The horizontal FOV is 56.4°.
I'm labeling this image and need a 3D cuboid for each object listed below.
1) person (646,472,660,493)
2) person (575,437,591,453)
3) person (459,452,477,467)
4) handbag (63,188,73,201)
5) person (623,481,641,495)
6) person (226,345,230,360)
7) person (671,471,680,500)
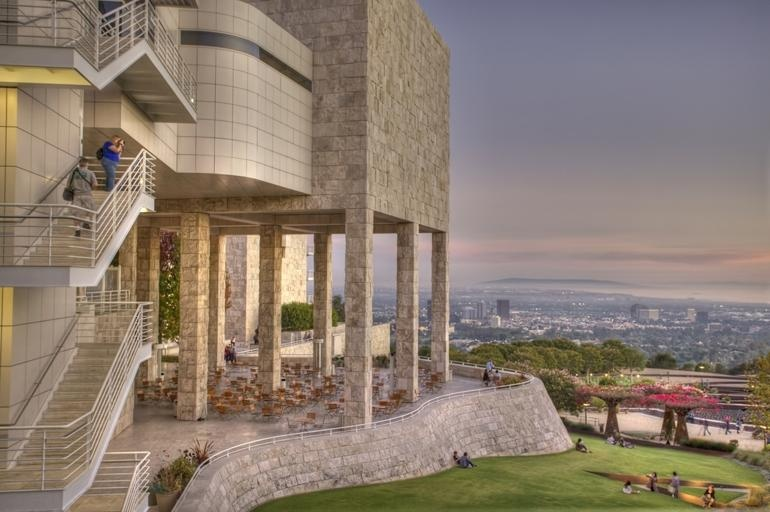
[{"bbox_3d":[14.265,11.900,38.185,0.536,0.854,2.460,-1,-6,21],"label":"person"},{"bbox_3d":[12.252,11.609,44.179,0.674,0.489,0.946,7,-1,34],"label":"person"},{"bbox_3d":[4.233,10.525,37.172,0.867,0.968,0.521,-3,-1,-13],"label":"person"},{"bbox_3d":[-10.317,-1.962,23.419,0.396,0.403,0.405,0,2,-18],"label":"handbag"},{"bbox_3d":[12.399,11.708,36.173,0.877,0.671,0.613,1,-6,26],"label":"person"},{"bbox_3d":[-11.651,7.219,53.278,0.244,1.056,0.438,3,-6,-15],"label":"person"},{"bbox_3d":[15.384,11.942,37.925,0.405,1.175,2.409,-1,-6,22],"label":"person"}]
